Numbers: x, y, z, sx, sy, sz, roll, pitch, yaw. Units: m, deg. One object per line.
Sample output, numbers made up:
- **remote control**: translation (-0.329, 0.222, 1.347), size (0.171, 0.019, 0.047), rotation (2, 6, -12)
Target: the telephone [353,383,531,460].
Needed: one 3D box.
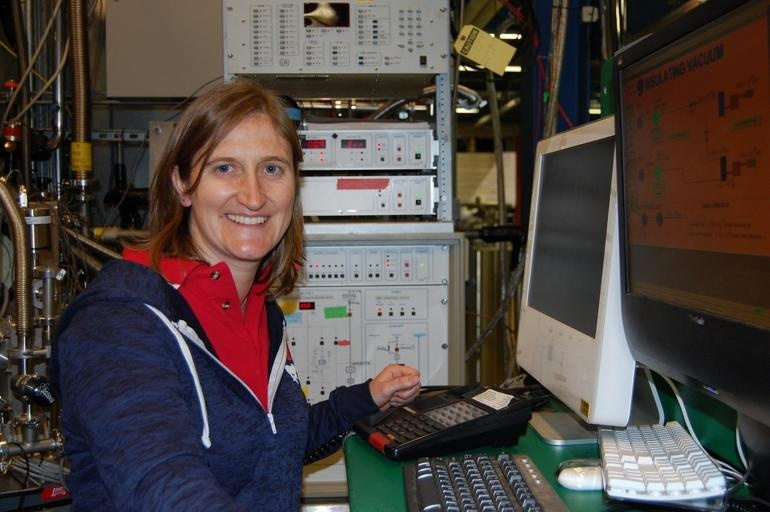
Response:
- **telephone**: translation (0.144, 0.421, 1.650), size (0.265, 0.104, 0.210), rotation (1, 2, -19)
